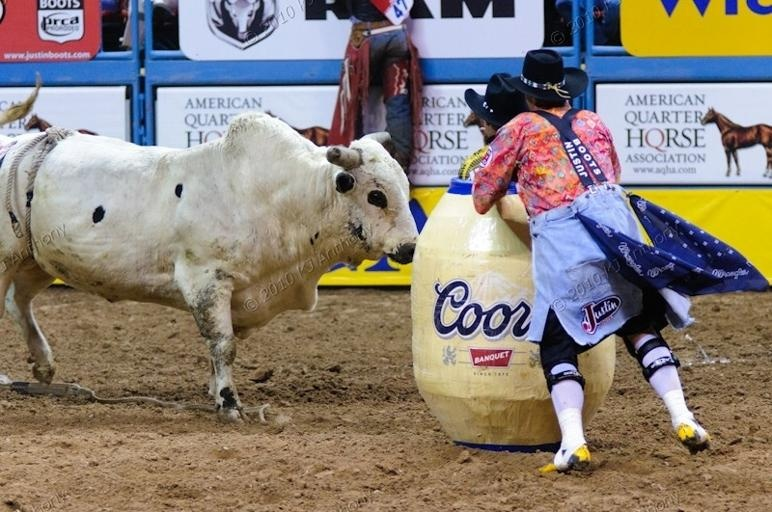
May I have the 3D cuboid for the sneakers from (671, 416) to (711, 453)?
[{"bbox_3d":[2.236,1.303,11.563,0.203,0.277,0.124,-35,18,35],"label":"sneakers"}]

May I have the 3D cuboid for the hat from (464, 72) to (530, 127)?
[{"bbox_3d":[0.825,-1.271,12.563,0.411,0.194,0.477,-40,56,-13],"label":"hat"}]

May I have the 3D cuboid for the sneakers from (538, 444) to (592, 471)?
[{"bbox_3d":[1.322,1.494,11.709,0.151,0.162,0.402,10,-16,-33],"label":"sneakers"}]

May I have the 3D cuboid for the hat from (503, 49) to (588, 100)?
[{"bbox_3d":[1.186,-1.413,12.067,0.437,0.184,0.480,-21,33,-16],"label":"hat"}]
